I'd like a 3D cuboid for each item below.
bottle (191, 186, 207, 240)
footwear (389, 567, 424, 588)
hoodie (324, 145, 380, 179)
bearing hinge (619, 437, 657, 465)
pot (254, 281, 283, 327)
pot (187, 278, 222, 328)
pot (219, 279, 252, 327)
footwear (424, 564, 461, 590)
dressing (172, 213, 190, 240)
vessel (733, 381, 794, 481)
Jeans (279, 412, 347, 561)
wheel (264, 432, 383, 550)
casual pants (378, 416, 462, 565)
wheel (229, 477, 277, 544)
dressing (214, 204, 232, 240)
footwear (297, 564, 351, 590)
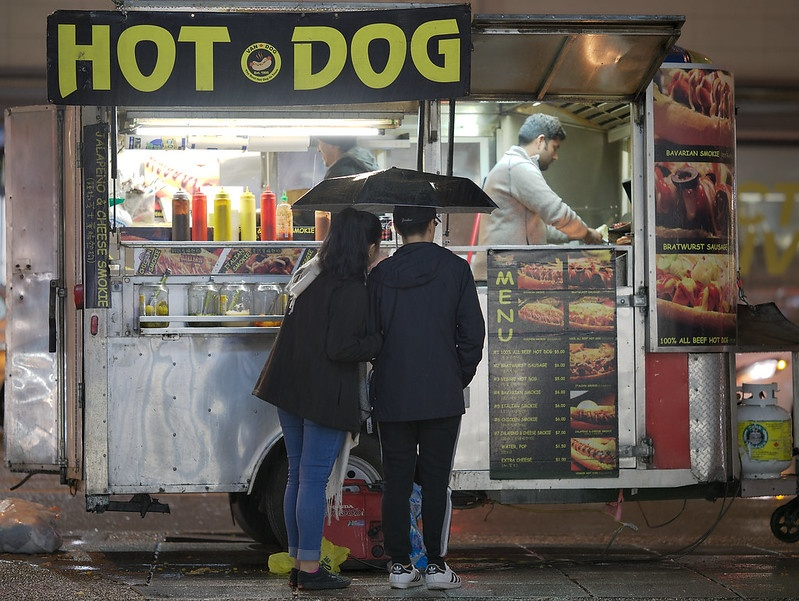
[{"bbox_3d":[-1.682,-0.702,12.553,0.118,0.404,0.152,0,3,-18],"label":"bottle"},{"bbox_3d":[0.035,2.166,11.730,0.114,0.142,0.298,0,1,25],"label":"footwear"},{"bbox_3d":[-0.414,-1.198,13.018,0.445,0.268,0.328,1,3,-1],"label":"hoodie"},{"bbox_3d":[1.981,1.259,12.476,0.290,0.221,0.043,1,2,8],"label":"bearing hinge"},{"bbox_3d":[-1.093,0.069,12.460,0.250,0.404,0.234,-3,-10,0],"label":"pot"},{"bbox_3d":[-1.636,0.039,12.451,0.242,0.386,0.241,1,1,0],"label":"pot"},{"bbox_3d":[-1.357,0.022,12.369,0.282,0.554,0.322,0,-2,-2],"label":"pot"},{"bbox_3d":[0.331,2.170,11.728,0.126,0.156,0.322,-1,-1,26],"label":"footwear"},{"bbox_3d":[-1.834,-0.619,12.545,0.175,0.275,0.184,0,1,12],"label":"dressing"},{"bbox_3d":[3.109,1.110,12.718,0.458,0.778,0.347,1,3,16],"label":"vessel"},{"bbox_3d":[-0.718,1.339,11.819,0.556,1.458,0.458,-2,-7,45],"label":"Jeans"},{"bbox_3d":[-0.568,1.524,12.006,0.892,0.976,0.328,-5,-2,-8],"label":"wheel"},{"bbox_3d":[0.176,1.362,11.808,0.594,1.540,0.397,1,24,4],"label":"casual pants"},{"bbox_3d":[-1.315,1.914,13.167,0.185,0.598,0.590,-11,20,13],"label":"wheel"},{"bbox_3d":[-1.505,-0.650,12.605,0.175,0.294,0.181,1,3,4],"label":"dressing"},{"bbox_3d":[-0.619,2.198,11.806,0.442,0.208,0.166,0,-2,-20],"label":"footwear"}]
